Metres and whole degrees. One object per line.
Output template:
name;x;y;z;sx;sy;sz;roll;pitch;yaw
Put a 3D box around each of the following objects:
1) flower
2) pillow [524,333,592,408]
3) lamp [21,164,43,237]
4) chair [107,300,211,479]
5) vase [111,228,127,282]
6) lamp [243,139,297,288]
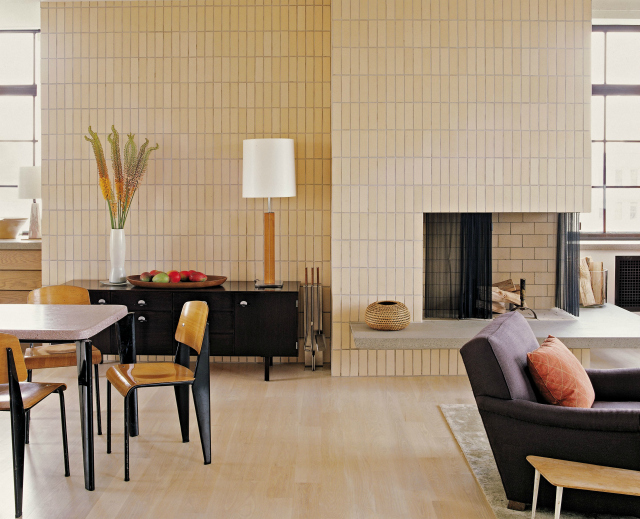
flower;-1.718;-0.786;5.416;0.680;1.051;0.293;5;14;-2
pillow;1.336;0.468;3.409;0.282;0.346;0.553;7;10;24
lamp;-2.726;-0.562;5.870;0.188;0.678;0.522;-4;11;-25
chair;-0.982;0.746;3.752;0.561;0.990;0.538;1;3;-39
vase;-1.737;-0.048;5.326;0.134;0.460;0.136;-3;10;-18
lamp;-0.422;-0.409;5.241;0.436;1.218;0.419;-1;10;-7
